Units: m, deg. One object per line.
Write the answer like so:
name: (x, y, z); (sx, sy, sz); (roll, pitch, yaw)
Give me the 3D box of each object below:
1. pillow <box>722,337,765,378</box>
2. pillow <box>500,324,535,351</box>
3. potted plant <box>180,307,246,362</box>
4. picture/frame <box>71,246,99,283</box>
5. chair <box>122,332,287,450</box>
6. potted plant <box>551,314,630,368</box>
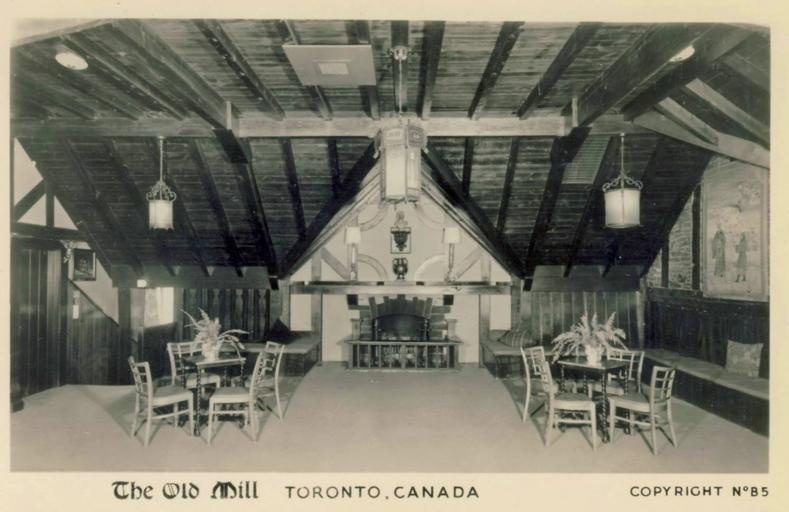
pillow: (5.857, 1.717, 12.084); (0.225, 0.609, 0.584); (21, -6, -35)
pillow: (2.504, 1.595, 14.556); (0.582, 0.350, 0.385); (-1, -1, 10)
potted plant: (-2.983, 1.450, 12.269); (1.124, 0.700, 1.090); (6, -5, -16)
picture/frame: (-5.782, 0.154, 13.557); (0.091, 0.854, 0.707); (-3, -1, 37)
chair: (-2.988, 2.214, 11.777); (2.332, 1.458, 1.515); (0, -5, -11)
potted plant: (3.312, 1.416, 12.281); (1.233, 0.811, 1.245); (-2, -3, 26)
